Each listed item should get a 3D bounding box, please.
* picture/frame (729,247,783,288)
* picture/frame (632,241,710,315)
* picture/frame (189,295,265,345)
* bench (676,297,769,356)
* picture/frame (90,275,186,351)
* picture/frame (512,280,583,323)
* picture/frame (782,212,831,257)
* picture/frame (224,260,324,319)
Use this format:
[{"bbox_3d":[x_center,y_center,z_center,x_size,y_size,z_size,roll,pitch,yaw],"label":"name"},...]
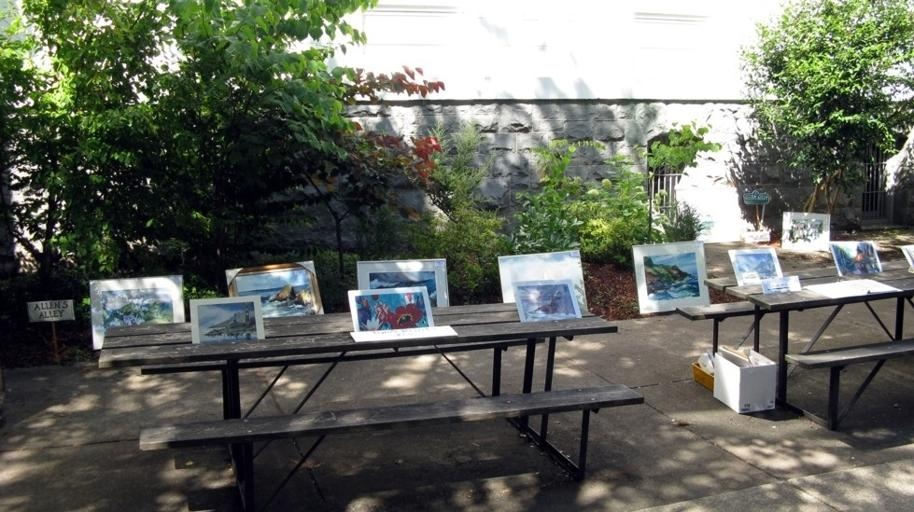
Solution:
[{"bbox_3d":[3.621,0.149,7.290,0.681,0.489,0.070,-3,-24,3],"label":"picture/frame"},{"bbox_3d":[3.141,0.297,8.737,0.126,0.988,1.158,1,-8,-40],"label":"picture/frame"},{"bbox_3d":[-2.228,0.632,5.777,0.541,0.321,0.019,-3,-15,-14],"label":"picture/frame"},{"bbox_3d":[3.496,0.950,7.913,0.926,0.384,0.270,-2,17,-7],"label":"bench"},{"bbox_3d":[-3.674,0.647,6.883,1.040,0.728,0.093,-2,-6,-6],"label":"picture/frame"},{"bbox_3d":[0.927,0.465,6.226,0.707,0.397,0.453,-4,-4,-6],"label":"picture/frame"},{"bbox_3d":[7.509,-0.522,12.928,0.076,0.837,1.057,-7,8,-27],"label":"picture/frame"},{"bbox_3d":[-2.071,0.388,6.678,0.759,0.462,0.072,-7,-18,-28],"label":"picture/frame"}]
